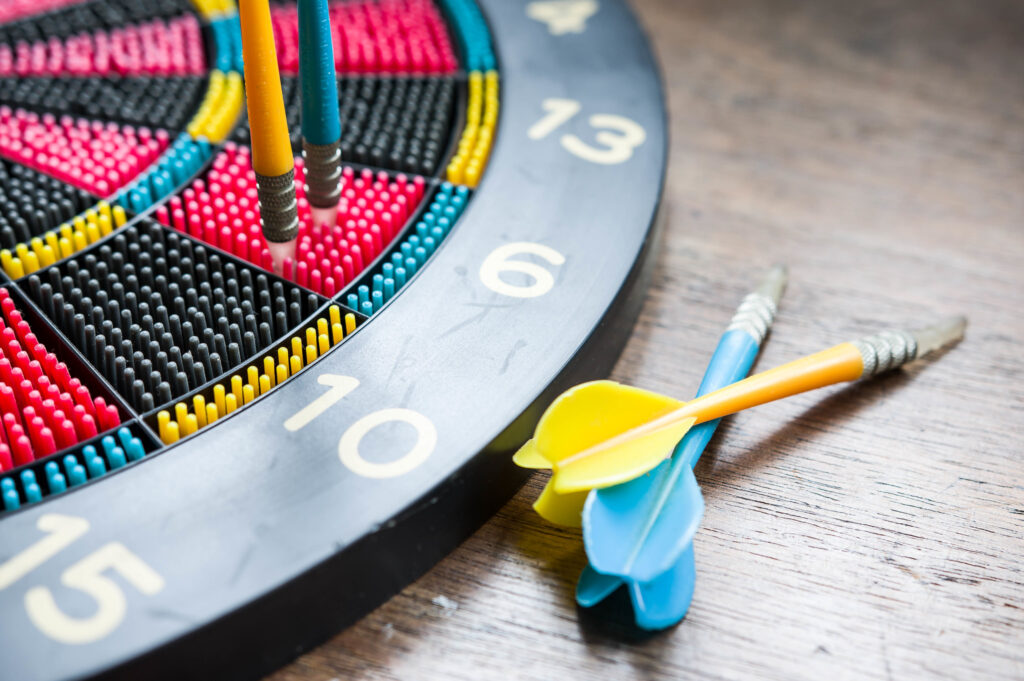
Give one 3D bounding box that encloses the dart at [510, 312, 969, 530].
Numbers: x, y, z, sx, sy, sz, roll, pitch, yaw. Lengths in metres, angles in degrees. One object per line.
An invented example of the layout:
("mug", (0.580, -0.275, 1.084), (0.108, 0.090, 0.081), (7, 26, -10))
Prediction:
("dart", (0.220, 0.087, 1.056), (0.388, 0.077, 0.064), (-19, 51, -20))
